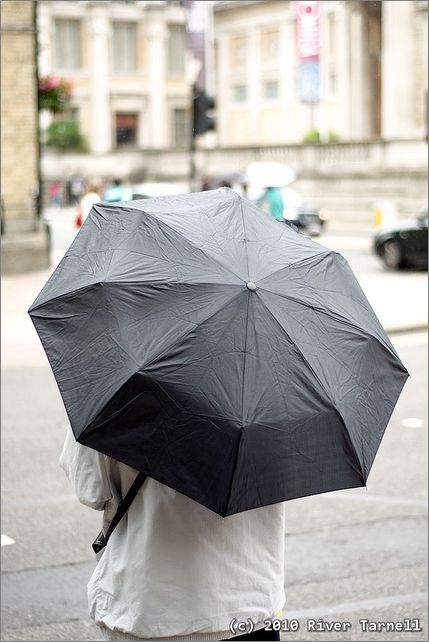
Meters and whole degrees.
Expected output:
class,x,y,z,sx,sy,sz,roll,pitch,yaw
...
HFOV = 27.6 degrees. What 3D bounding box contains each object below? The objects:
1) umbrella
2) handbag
class,x,y,z,sx,sy,sz,roll,pitch,yaw
umbrella,0.039,0.040,2.293,0.993,0.699,0.754,-1,6,-19
handbag,-0.235,0.479,2.203,0.040,0.285,0.075,31,24,7
